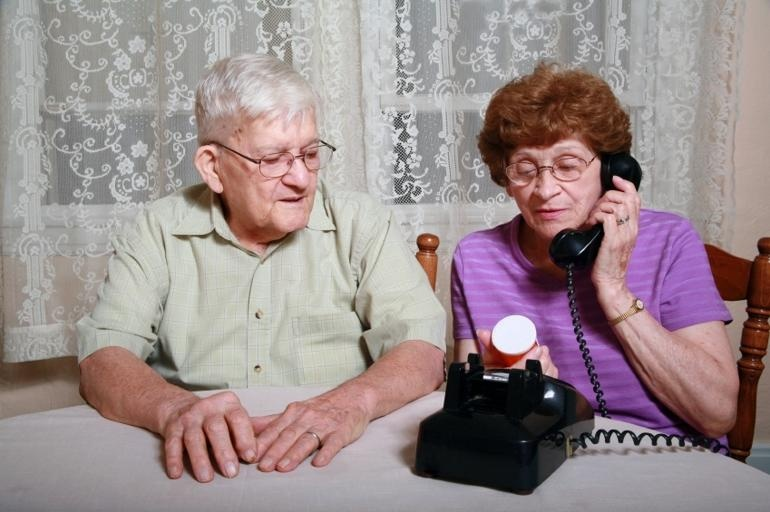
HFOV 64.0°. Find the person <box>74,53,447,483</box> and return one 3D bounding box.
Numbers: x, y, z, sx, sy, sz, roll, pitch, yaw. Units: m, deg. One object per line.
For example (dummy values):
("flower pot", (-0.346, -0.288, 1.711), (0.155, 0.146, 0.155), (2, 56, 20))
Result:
("person", (-0.401, -0.039, 2.015), (0.947, 1.029, 1.240), (-2, 7, -12))

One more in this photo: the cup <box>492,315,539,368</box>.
("cup", (0.360, 0.230, 1.727), (0.126, 0.142, 0.142), (-7, -17, 13))

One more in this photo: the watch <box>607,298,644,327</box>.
("watch", (0.737, 0.168, 1.909), (0.081, 0.046, 0.085), (-37, 15, 20))

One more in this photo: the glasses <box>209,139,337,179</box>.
("glasses", (-0.382, -0.312, 1.986), (0.328, 0.120, 0.117), (-3, 6, -13))

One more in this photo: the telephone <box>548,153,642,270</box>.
("telephone", (0.666, -0.143, 2.050), (0.213, 0.469, 0.148), (29, -5, 15))
